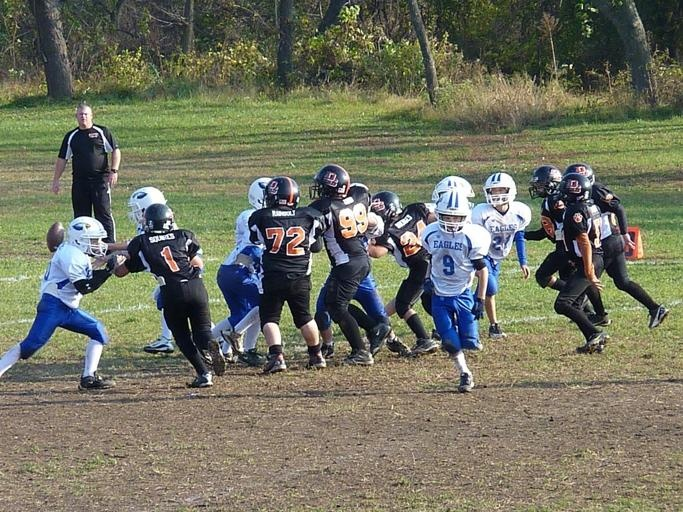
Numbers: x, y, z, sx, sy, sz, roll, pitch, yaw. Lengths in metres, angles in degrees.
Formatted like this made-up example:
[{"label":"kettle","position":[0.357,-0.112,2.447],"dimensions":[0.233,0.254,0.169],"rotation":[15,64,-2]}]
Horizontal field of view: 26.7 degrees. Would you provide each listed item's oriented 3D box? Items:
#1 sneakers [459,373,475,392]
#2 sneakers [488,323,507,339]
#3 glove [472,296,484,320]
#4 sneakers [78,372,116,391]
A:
[{"label":"sneakers","position":[1.957,2.003,22.865],"dimensions":[0.226,0.304,0.135],"rotation":[-4,6,0]},{"label":"sneakers","position":[2.659,1.293,24.705],"dimensions":[0.154,0.175,0.360],"rotation":[2,3,16]},{"label":"glove","position":[2.201,0.845,23.231],"dimensions":[0.113,0.317,0.235],"rotation":[3,17,-8]},{"label":"sneakers","position":[-3.963,2.019,23.192],"dimensions":[0.653,0.296,0.234],"rotation":[-1,14,-12]}]
